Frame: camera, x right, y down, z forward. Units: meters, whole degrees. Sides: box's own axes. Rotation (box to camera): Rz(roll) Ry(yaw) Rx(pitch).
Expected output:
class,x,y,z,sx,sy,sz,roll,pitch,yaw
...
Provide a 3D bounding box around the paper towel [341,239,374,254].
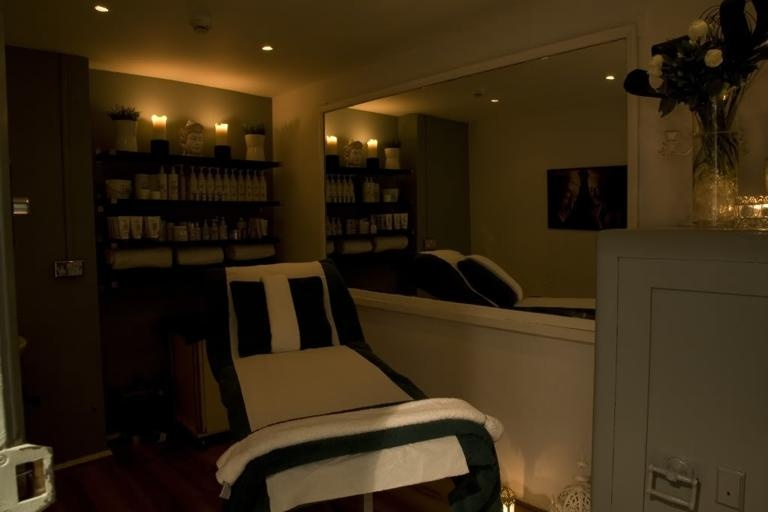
class,x,y,z,sx,sy,sz,roll,pitch,yaw
paper towel,-0.211,-0.067,4.346,0.183,0.090,0.105,-3,8,-2

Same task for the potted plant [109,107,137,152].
class,x,y,z,sx,sy,sz,roll,pitch,yaw
potted plant,-1.891,-0.879,4.201,0.201,0.281,0.203,1,7,-5

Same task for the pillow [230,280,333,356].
class,x,y,z,sx,sy,sz,roll,pitch,yaw
pillow,-0.630,0.361,3.485,0.487,0.500,0.162,-7,-18,-24

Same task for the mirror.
class,x,y,z,sx,sy,sz,roll,pitch,yaw
mirror,0.635,-0.442,3.383,1.847,1.279,0.041,-16,22,-1

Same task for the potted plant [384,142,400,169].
class,x,y,z,sx,sy,sz,roll,pitch,yaw
potted plant,0.053,-0.708,4.057,0.140,0.206,0.145,-3,6,-19

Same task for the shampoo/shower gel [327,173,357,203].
class,x,y,z,sx,sy,sz,roll,pitch,yaw
shampoo/shower gel,-0.317,-0.518,4.386,0.190,0.213,0.102,6,12,38

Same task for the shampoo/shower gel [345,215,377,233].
class,x,y,z,sx,sy,sz,roll,pitch,yaw
shampoo/shower gel,-0.180,-0.214,4.322,0.152,0.106,0.151,1,-1,-36

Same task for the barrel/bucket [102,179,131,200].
class,x,y,z,sx,sy,sz,roll,pitch,yaw
barrel/bucket,-1.935,-0.468,4.144,0.148,0.126,0.150,0,1,0

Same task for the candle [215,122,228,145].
class,x,y,z,sx,sy,sz,roll,pitch,yaw
candle,-1.327,-0.995,4.704,0.118,0.172,0.293,-5,14,-16

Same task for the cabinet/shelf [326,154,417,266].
class,x,y,z,sx,sy,sz,roll,pitch,yaw
cabinet/shelf,-0.035,-0.344,4.377,0.872,0.898,0.345,2,10,34

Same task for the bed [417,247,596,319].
class,x,y,z,sx,sy,sz,roll,pitch,yaw
bed,0.888,0.186,3.712,1.287,0.540,0.429,-1,4,15

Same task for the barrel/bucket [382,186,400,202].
class,x,y,z,sx,sy,sz,roll,pitch,yaw
barrel/bucket,0.046,-0.437,4.108,0.099,0.082,0.103,1,5,0

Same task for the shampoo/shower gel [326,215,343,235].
class,x,y,z,sx,sy,sz,roll,pitch,yaw
shampoo/shower gel,-0.382,-0.240,4.462,0.134,0.213,0.069,-1,-2,42

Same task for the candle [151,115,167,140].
class,x,y,z,sx,sy,sz,roll,pitch,yaw
candle,-1.722,-0.985,4.409,0.114,0.185,0.294,-6,14,-21
